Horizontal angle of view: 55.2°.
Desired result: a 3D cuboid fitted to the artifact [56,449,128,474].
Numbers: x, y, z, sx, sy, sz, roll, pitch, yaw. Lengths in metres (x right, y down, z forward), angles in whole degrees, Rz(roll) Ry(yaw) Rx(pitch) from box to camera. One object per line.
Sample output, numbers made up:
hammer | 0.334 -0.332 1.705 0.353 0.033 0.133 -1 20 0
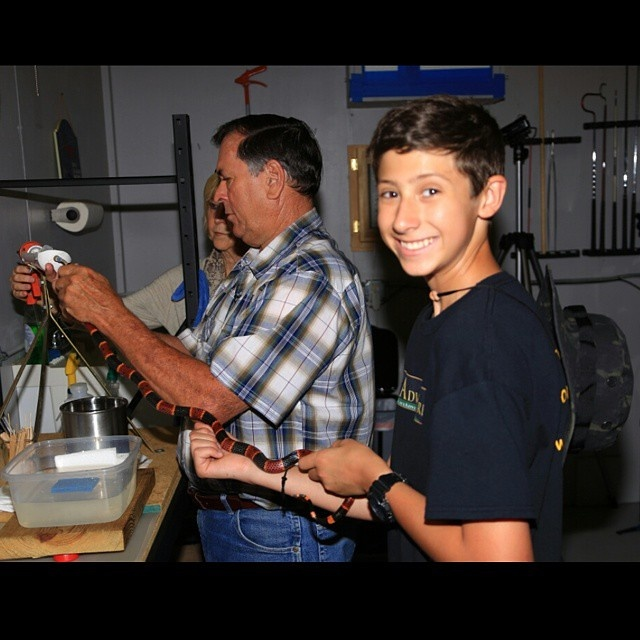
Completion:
artifact | -0.526 0.317 1.382 0.092 0.021 0.079 -1 0 -2

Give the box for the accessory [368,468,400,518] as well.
accessory | 0.094 0.278 0.992 0.060 0.064 0.066 -22 -34 24

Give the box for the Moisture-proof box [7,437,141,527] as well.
Moisture-proof box | -0.541 0.328 1.404 0.278 0.152 0.305 -5 1 -22

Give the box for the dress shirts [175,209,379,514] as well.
dress shirts | -0.020 0.075 1.716 0.660 0.797 0.794 1 3 -6
